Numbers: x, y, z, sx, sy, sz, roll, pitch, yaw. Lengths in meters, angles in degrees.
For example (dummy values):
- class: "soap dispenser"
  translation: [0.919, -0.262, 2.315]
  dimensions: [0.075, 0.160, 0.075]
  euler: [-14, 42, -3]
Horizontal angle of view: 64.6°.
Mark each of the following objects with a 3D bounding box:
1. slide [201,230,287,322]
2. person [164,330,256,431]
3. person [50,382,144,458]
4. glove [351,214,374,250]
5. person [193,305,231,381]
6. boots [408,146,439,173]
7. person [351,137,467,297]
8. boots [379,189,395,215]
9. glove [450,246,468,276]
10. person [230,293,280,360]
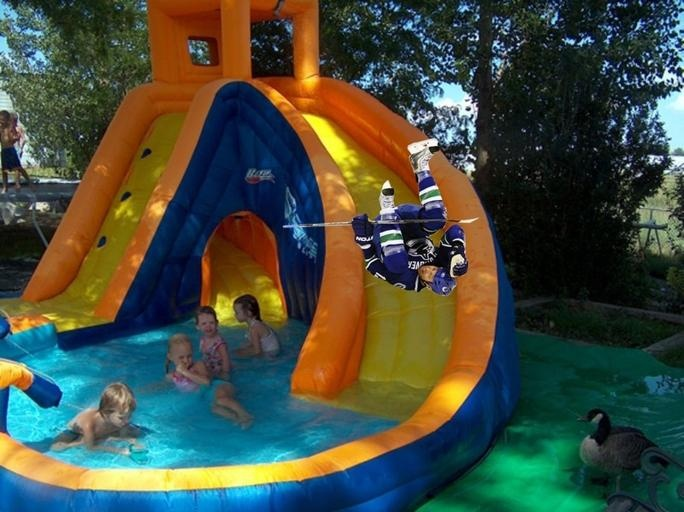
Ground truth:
- class: "slide"
  translation: [-1.587, 0.362, 8.433]
  dimensions: [0.863, 0.330, 2.736]
  euler: [4, 23, -25]
- class: "person"
  translation: [-1.346, 1.270, 5.357]
  dimensions: [1.175, 0.525, 0.804]
  euler: [31, -23, 24]
- class: "person"
  translation: [-2.041, 1.346, 4.646]
  dimensions: [0.623, 0.593, 0.718]
  euler: [13, 10, 11]
- class: "glove"
  translation: [0.171, -0.208, 4.430]
  dimensions: [0.146, 0.297, 0.109]
  euler: [18, 42, 32]
- class: "person"
  translation: [-1.430, 0.926, 5.886]
  dimensions: [0.372, 0.770, 0.373]
  euler: [2, 10, -30]
- class: "boots"
  translation: [0.653, -0.791, 4.477]
  dimensions: [0.181, 0.223, 0.148]
  euler: [4, 6, -3]
- class: "person"
  translation: [0.589, -0.191, 4.716]
  dimensions: [0.814, 1.413, 0.781]
  euler: [11, 11, -2]
- class: "boots"
  translation: [0.364, -0.443, 4.396]
  dimensions: [0.114, 0.203, 0.109]
  euler: [6, 6, 18]
- class: "glove"
  translation: [0.944, 0.054, 4.391]
  dimensions: [0.113, 0.224, 0.092]
  euler: [-6, -28, 7]
- class: "person"
  translation: [-1.027, 0.769, 6.412]
  dimensions: [0.580, 0.843, 0.480]
  euler: [13, 30, 24]
